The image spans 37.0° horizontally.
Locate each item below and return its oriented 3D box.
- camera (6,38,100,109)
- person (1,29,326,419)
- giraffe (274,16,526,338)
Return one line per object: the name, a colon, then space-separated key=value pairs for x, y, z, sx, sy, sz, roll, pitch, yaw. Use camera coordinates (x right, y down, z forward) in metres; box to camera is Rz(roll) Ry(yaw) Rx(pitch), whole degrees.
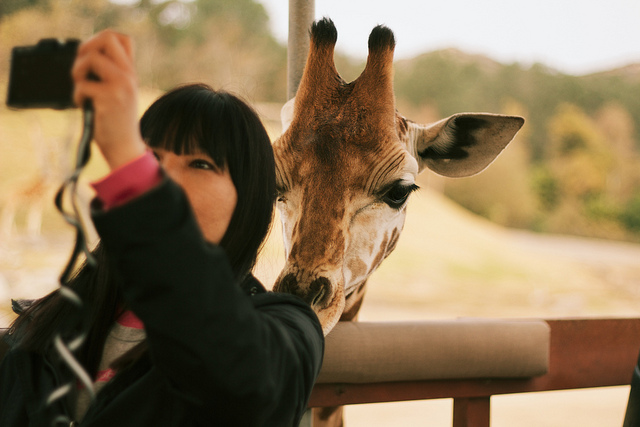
camera: x=-1.178 y=-0.615 z=4.097 sx=0.326 sy=0.308 sz=0.116 roll=7 pitch=13 yaw=17
person: x=-0.549 y=0.098 z=3.286 sx=1.155 sy=1.447 sz=0.717 roll=2 pitch=13 yaw=-2
giraffe: x=0.337 y=-0.215 z=4.610 sx=1.318 sy=1.127 sz=1.324 roll=3 pitch=8 yaw=7
